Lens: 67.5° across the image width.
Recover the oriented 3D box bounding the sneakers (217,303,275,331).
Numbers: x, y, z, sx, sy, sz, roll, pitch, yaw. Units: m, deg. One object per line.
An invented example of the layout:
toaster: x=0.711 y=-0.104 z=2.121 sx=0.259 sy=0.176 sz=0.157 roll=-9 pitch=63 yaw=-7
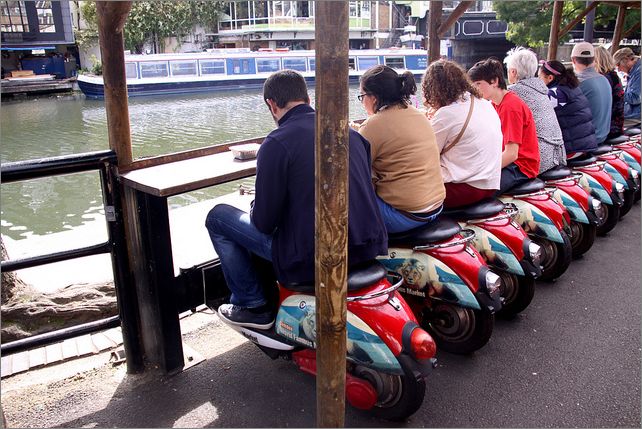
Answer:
sneakers: x=-0.601 y=0.833 z=3.974 sx=0.462 sy=0.213 sz=0.187 roll=11 pitch=-11 yaw=7

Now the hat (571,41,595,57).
hat: x=3.556 y=-2.255 z=6.538 sx=0.190 sy=0.120 sz=0.300 roll=4 pitch=21 yaw=15

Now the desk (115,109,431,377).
desk: x=-0.396 y=0.320 z=4.140 sx=2.790 sy=1.837 sz=1.132 roll=16 pitch=19 yaw=28

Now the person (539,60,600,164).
person: x=3.256 y=-1.404 z=6.078 sx=0.647 sy=0.928 sz=0.865 roll=-28 pitch=20 yaw=-2
